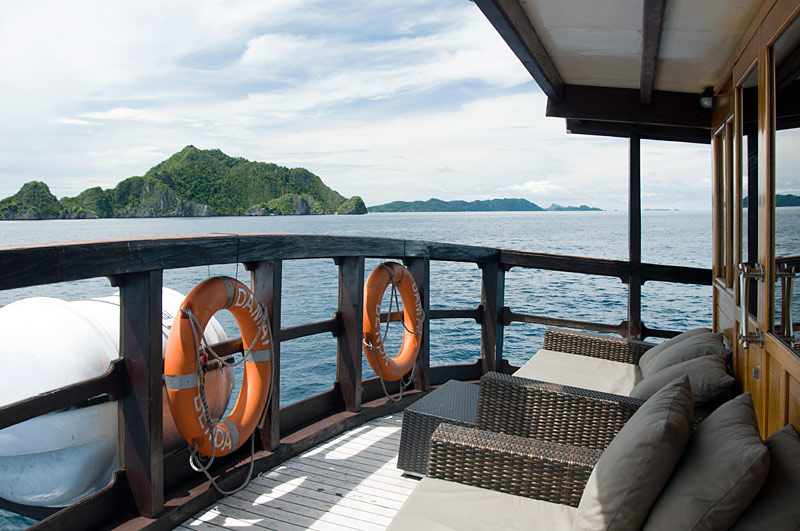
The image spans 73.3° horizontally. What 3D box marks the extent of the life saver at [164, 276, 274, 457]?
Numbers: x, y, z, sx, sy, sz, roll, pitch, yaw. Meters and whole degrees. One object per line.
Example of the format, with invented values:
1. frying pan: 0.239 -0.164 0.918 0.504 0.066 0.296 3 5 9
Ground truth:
1. life saver: -0.997 0.550 3.040 0.172 0.991 0.637 1 8 33

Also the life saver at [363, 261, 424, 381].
1. life saver: -0.041 0.465 4.222 0.281 1.029 0.612 0 8 27

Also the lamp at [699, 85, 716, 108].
1. lamp: 2.377 -1.314 4.156 0.103 0.165 0.167 1 8 32
